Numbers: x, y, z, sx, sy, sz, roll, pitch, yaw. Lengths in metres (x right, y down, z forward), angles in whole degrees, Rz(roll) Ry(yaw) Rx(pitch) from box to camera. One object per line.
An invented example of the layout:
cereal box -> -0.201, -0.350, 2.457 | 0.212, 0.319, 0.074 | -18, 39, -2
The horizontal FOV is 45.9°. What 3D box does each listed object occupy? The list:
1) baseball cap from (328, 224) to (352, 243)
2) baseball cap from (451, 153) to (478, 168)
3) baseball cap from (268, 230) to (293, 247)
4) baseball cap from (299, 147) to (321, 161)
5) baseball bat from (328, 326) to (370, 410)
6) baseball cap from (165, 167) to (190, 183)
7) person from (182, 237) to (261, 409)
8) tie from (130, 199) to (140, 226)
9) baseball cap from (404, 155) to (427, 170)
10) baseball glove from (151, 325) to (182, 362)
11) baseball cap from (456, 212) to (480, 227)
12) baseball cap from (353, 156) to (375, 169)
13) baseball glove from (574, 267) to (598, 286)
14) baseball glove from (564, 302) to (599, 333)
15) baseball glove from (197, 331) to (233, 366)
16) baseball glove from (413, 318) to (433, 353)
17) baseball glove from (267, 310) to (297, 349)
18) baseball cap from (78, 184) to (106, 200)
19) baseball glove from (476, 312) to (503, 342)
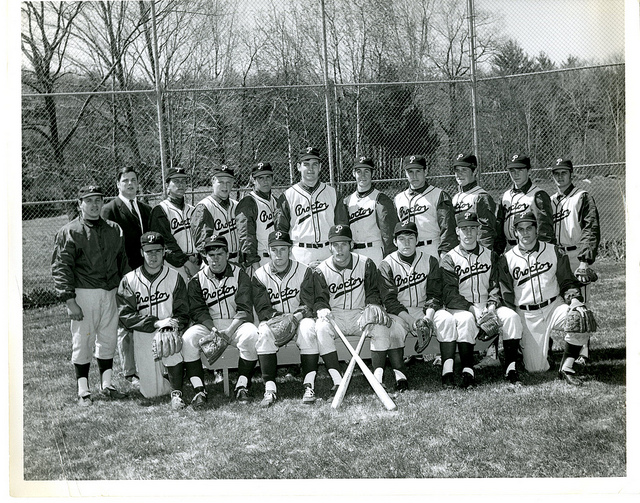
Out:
baseball cap -> 0.267, -0.237, 9.882 | 0.288, 0.216, 0.342 | -4, 3, 0
baseball cap -> 2.122, -1.319, 10.938 | 0.303, 0.159, 0.218 | 0, 2, -36
baseball cap -> -0.528, -0.162, 9.853 | 0.277, 0.198, 0.213 | -4, 3, -3
baseball cap -> -0.149, -1.371, 10.610 | 0.277, 0.193, 0.291 | -4, 3, -2
baseball bat -> 0.362, 1.455, 9.426 | 0.129, 0.103, 1.373 | 8, 40, 23
baseball cap -> -2.049, -1.102, 10.679 | 0.299, 0.212, 0.419 | -2, 0, -33
person -> -1.265, 0.862, 9.514 | 0.957, 1.404, 0.881 | -4, 3, -9
tie -> -2.522, -0.524, 10.322 | 0.064, 0.473, 0.047 | -8, -11, -14
baseball cap -> 1.366, -1.271, 10.765 | 0.315, 0.201, 0.200 | -5, 3, -7
baseball glove -> -1.902, 1.142, 9.346 | 0.336, 0.431, 0.173 | -6, -14, 43
baseball cap -> 1.985, -0.434, 10.146 | 0.264, 0.190, 0.382 | -4, 3, 10
baseball cap -> 0.625, -1.265, 10.770 | 0.260, 0.186, 0.316 | -4, 3, 5
baseball glove -> 3.567, 0.342, 10.131 | 0.274, 0.264, 0.371 | -3, 3, 19
baseball glove -> 3.269, 0.842, 9.545 | 0.354, 0.388, 0.289 | -4, 3, 5
baseball glove -> -1.306, 1.205, 9.389 | 0.391, 0.357, 0.126 | -36, -17, -3
baseball glove -> 1.321, 1.080, 9.597 | 0.247, 0.464, 0.323 | -3, 3, 8
baseball glove -> -0.447, 0.962, 9.518 | 0.312, 0.481, 0.179 | 7, -16, 6
baseball cap -> -2.960, -0.771, 9.761 | 0.284, 0.141, 0.323 | -5, 3, -21
baseball glove -> 2.151, 0.945, 9.585 | 0.296, 0.325, 0.161 | -5, 3, -10
